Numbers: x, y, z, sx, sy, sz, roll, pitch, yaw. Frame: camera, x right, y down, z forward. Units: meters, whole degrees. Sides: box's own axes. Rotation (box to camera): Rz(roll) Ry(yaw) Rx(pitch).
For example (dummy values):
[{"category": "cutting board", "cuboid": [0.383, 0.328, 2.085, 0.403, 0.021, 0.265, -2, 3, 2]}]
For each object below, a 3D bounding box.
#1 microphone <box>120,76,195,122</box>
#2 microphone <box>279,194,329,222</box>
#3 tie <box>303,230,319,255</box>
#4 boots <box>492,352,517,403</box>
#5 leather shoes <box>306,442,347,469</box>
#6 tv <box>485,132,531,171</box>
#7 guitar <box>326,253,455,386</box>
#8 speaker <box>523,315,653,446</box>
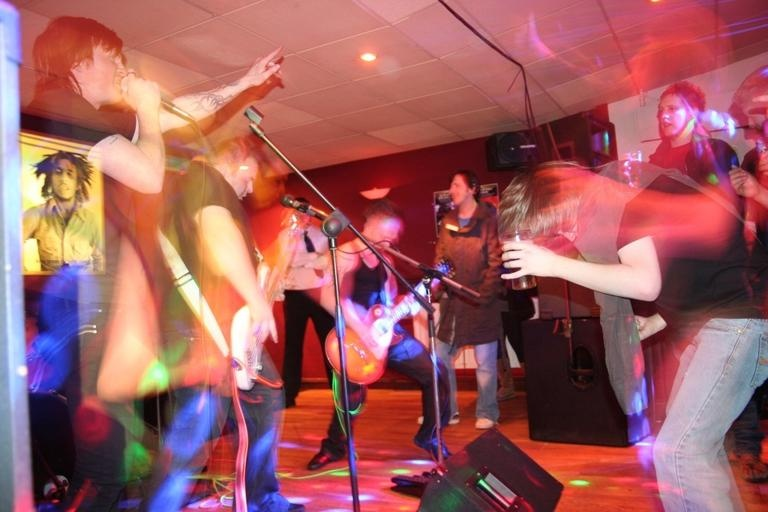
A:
[{"category": "microphone", "cuboid": [-1.007, -0.644, 2.374, 0.316, 0.139, 0.082, 23, -23, -34]}, {"category": "microphone", "cuboid": [-0.388, -0.234, 2.631, 0.207, 0.181, 0.435, -4, -3, -11]}, {"category": "tie", "cuboid": [-0.757, -0.142, 5.737, 0.047, 0.308, 0.139, -15, 3, 35]}, {"category": "boots", "cuboid": [1.243, 1.305, 5.676, 0.257, 0.381, 0.123, -13, -35, 8]}, {"category": "leather shoes", "cuboid": [-0.396, 1.401, 3.814, 0.325, 0.129, 0.115, 5, -17, -44]}, {"category": "tv", "cuboid": [1.479, -1.234, 6.288, 0.521, 0.381, 0.292, -7, 2, -7]}, {"category": "guitar", "cuboid": [-0.006, 0.292, 3.954, 0.528, 1.253, 0.179, 34, -39, -18]}, {"category": "speaker", "cuboid": [1.491, 0.880, 4.142, 0.836, 0.927, 0.536, -4, 4, 16]}]
